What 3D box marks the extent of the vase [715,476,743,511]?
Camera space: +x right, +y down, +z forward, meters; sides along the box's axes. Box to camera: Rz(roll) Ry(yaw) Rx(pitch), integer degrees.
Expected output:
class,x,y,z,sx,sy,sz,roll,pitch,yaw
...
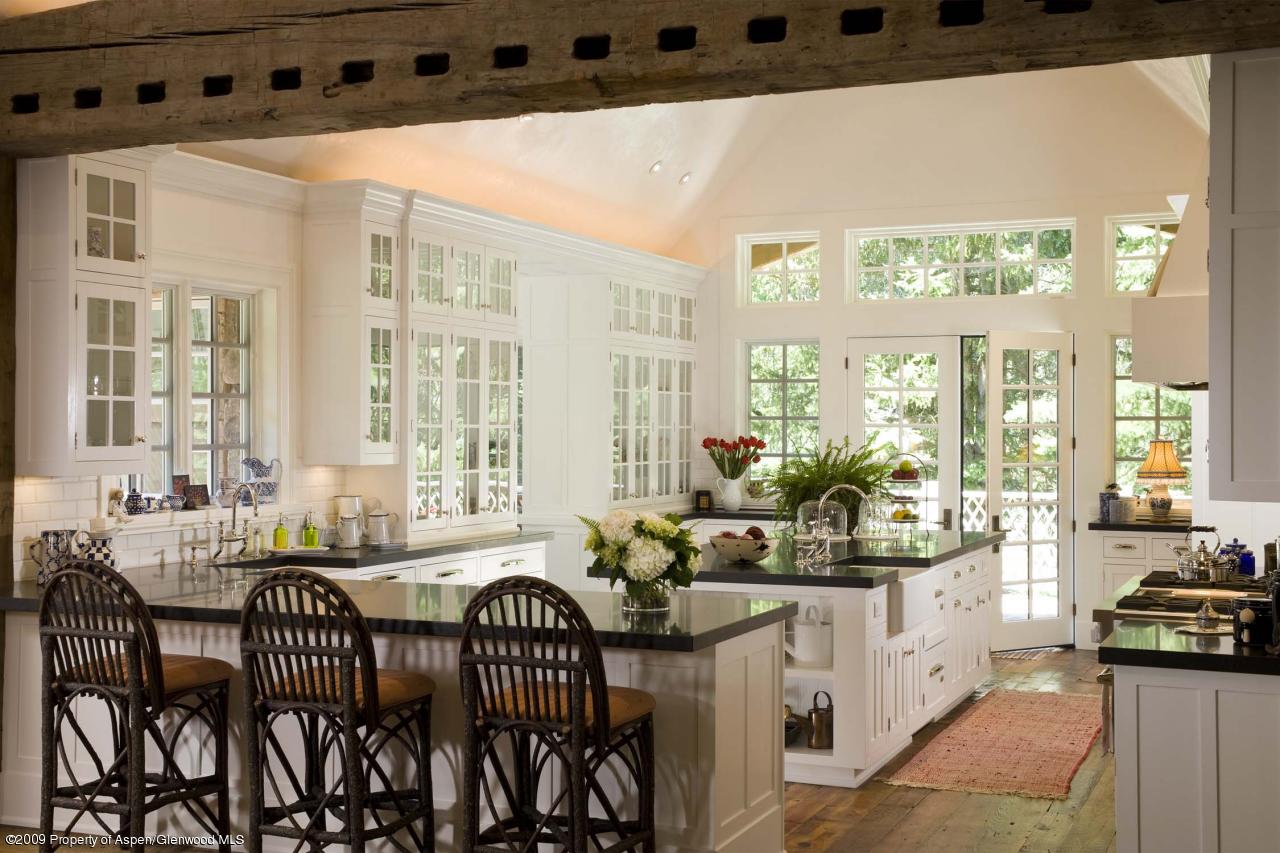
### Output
class,x,y,z,sx,sy,sz,roll,pitch,yaw
vase,0.880,0.679,10.269,0.333,0.332,0.262,-1,-1,4

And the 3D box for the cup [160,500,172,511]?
class,x,y,z,sx,sy,sz,roll,pitch,yaw
cup,-2.920,0.491,6.370,0.053,0.092,0.054,1,-1,0

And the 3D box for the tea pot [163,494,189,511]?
class,x,y,z,sx,sy,sz,roll,pitch,yaw
tea pot,-2.882,0.482,6.426,0.095,0.061,0.092,0,-4,0

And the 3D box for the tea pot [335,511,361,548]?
class,x,y,z,sx,sy,sz,roll,pitch,yaw
tea pot,-1.972,0.720,7.191,0.189,0.253,0.266,-4,-5,43

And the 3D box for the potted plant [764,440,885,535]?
class,x,y,z,sx,sy,sz,roll,pitch,yaw
potted plant,1.344,0.421,7.653,0.824,0.587,0.845,0,-4,-4

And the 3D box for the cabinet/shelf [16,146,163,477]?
class,x,y,z,sx,sy,sz,roll,pitch,yaw
cabinet/shelf,-2.972,-0.608,5.535,0.649,1.727,0.326,-1,-2,-30

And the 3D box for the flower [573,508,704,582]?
class,x,y,z,sx,sy,sz,roll,pitch,yaw
flower,0.022,0.555,4.763,0.392,0.284,0.419,1,1,-41

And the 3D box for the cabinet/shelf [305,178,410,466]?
class,x,y,z,sx,sy,sz,roll,pitch,yaw
cabinet/shelf,-1.937,-0.698,7.089,0.743,1.904,0.514,-1,-2,-19

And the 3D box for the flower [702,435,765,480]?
class,x,y,z,sx,sy,sz,roll,pitch,yaw
flower,0.917,0.290,10.156,0.504,0.323,0.487,-1,-3,-12

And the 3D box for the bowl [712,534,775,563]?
class,x,y,z,sx,sy,sz,roll,pitch,yaw
bowl,0.599,0.741,6.312,0.201,0.181,0.429,0,-3,-44

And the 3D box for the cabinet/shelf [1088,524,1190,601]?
class,x,y,z,sx,sy,sz,roll,pitch,yaw
cabinet/shelf,3.869,1.027,8.011,0.710,0.678,0.295,-3,-5,35

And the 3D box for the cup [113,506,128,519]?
class,x,y,z,sx,sy,sz,roll,pitch,yaw
cup,-3.062,0.510,6.099,0.031,0.068,0.078,-3,-2,25

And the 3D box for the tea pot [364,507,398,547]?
class,x,y,z,sx,sy,sz,roll,pitch,yaw
tea pot,-1.810,0.713,7.192,0.192,0.242,0.308,-2,-2,-5

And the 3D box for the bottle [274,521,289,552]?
class,x,y,z,sx,sy,sz,roll,pitch,yaw
bottle,-2.379,0.730,6.859,0.093,0.178,0.307,-1,-2,-18

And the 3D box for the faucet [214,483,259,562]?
class,x,y,z,sx,sy,sz,roll,pitch,yaw
faucet,-2.594,0.604,6.667,0.121,0.470,0.385,-3,-2,22
